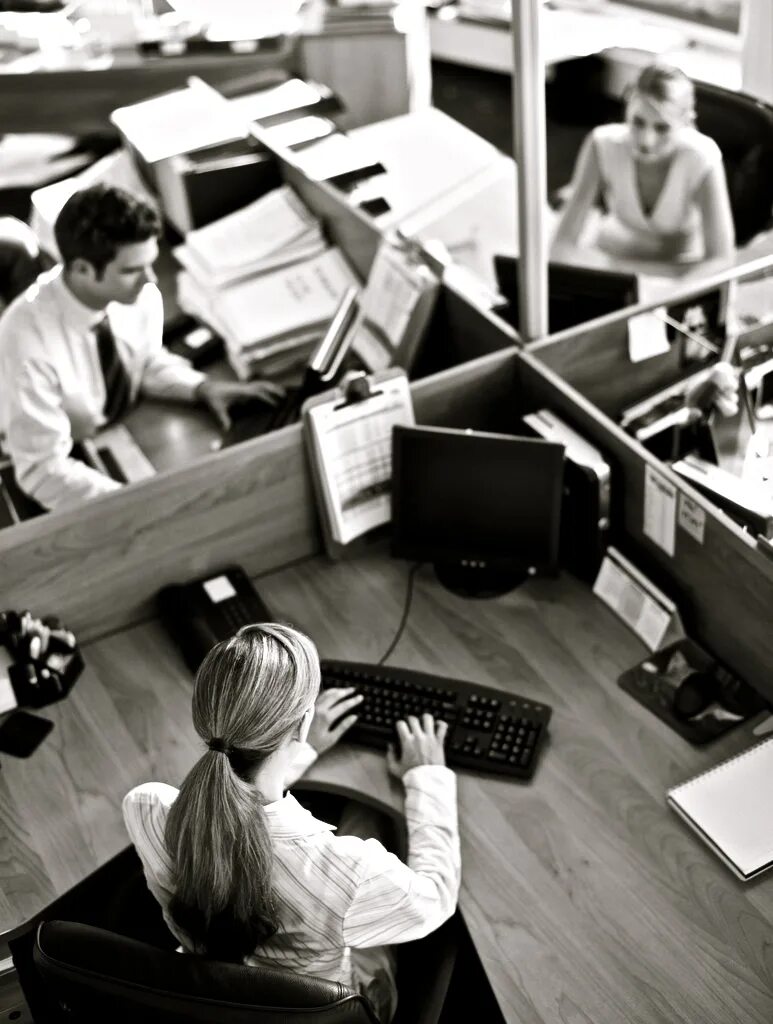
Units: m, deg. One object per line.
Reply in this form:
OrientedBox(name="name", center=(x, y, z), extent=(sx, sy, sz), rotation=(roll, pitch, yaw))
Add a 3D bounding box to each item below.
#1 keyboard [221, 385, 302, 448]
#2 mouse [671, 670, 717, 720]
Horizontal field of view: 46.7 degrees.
OrientedBox(name="keyboard", center=(-0.321, -0.241, 2.247), extent=(0.181, 0.051, 0.180), rotation=(-24, 36, 26))
OrientedBox(name="mouse", center=(0.527, 0.316, 1.526), extent=(0.086, 0.043, 0.052), rotation=(-22, 36, -25))
